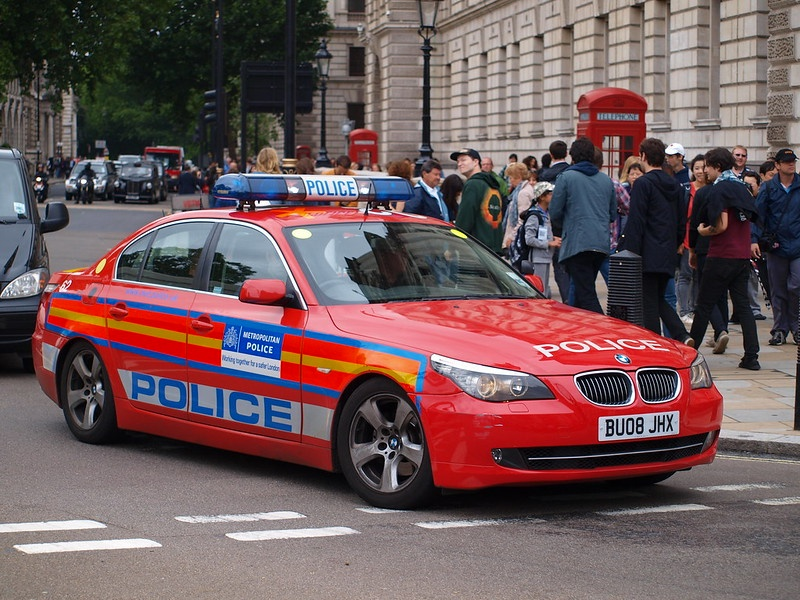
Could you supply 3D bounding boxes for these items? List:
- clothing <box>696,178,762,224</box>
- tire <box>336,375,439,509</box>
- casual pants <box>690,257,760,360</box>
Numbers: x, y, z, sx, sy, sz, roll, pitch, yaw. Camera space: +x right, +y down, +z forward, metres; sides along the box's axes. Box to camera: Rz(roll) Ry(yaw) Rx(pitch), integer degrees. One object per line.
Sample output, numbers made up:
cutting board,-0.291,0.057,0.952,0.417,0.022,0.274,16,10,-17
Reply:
clothing,3.611,-1.056,10.674,0.795,0.661,0.440,0,-3,-33
tire,-0.110,0.893,6.091,0.743,0.777,0.251,4,-10,-27
casual pants,3.591,0.008,10.930,0.947,1.288,0.468,7,13,35
